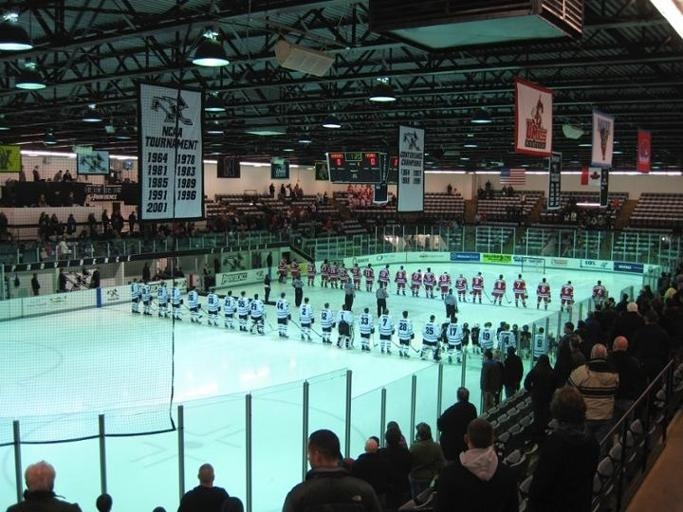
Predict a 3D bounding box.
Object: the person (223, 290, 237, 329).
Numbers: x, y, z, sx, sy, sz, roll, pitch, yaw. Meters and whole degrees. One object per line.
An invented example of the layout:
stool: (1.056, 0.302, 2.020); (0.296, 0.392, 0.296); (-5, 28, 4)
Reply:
person: (-4.267, 2.043, 22.471); (0.415, 1.496, 1.511); (0, 4, -13)

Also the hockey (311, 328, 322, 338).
hockey: (-0.870, 2.728, 21.222); (0.298, 0.449, 0.227); (-15, 9, -39)

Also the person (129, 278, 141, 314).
person: (-8.631, 1.812, 24.759); (0.352, 1.377, 0.722); (-1, 4, -20)

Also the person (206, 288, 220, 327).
person: (-4.915, 2.090, 22.524); (0.398, 1.332, 1.078); (-1, 4, -14)

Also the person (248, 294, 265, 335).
person: (-3.015, 2.097, 21.073); (0.539, 1.566, 1.271); (0, 4, -10)

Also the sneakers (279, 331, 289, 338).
sneakers: (-2.059, 2.831, 20.963); (0.424, 0.283, 0.140); (-3, 11, -10)

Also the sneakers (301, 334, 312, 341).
sneakers: (-1.172, 2.838, 20.442); (0.168, 0.277, 0.395); (10, 15, 42)

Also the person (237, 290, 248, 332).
person: (-3.611, 2.091, 21.658); (0.418, 1.467, 0.913); (0, 4, -10)

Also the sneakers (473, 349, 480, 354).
sneakers: (3.428, 2.449, 14.945); (0.170, 0.157, 0.287); (-3, -8, 20)

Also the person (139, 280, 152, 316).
person: (-8.122, 1.861, 24.507); (0.402, 1.311, 0.828); (-1, 4, -19)

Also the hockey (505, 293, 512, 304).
hockey: (7.894, 2.071, 27.683); (0.114, 0.370, 0.368); (10, -4, -35)

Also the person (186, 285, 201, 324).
person: (-5.797, 1.998, 23.209); (0.481, 1.321, 1.061); (0, 4, -13)
